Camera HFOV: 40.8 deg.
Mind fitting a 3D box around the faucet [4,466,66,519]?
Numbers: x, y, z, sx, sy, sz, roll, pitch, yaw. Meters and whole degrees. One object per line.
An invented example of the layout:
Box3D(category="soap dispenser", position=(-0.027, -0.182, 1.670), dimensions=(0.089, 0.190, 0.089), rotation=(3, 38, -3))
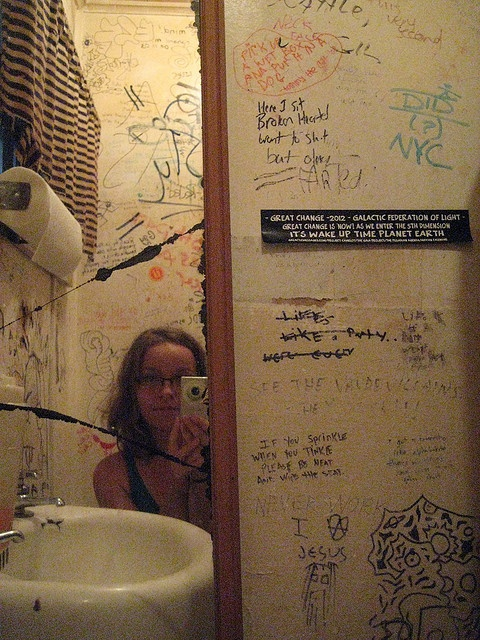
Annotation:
Box3D(category="faucet", position=(-0.472, 0.392, 1.485), dimensions=(0.123, 0.085, 0.060), rotation=(0, 1, -12))

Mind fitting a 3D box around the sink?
Box3D(category="sink", position=(-0.320, 0.512, 1.449), dimensions=(0.273, 0.096, 0.201), rotation=(12, -5, -7))
